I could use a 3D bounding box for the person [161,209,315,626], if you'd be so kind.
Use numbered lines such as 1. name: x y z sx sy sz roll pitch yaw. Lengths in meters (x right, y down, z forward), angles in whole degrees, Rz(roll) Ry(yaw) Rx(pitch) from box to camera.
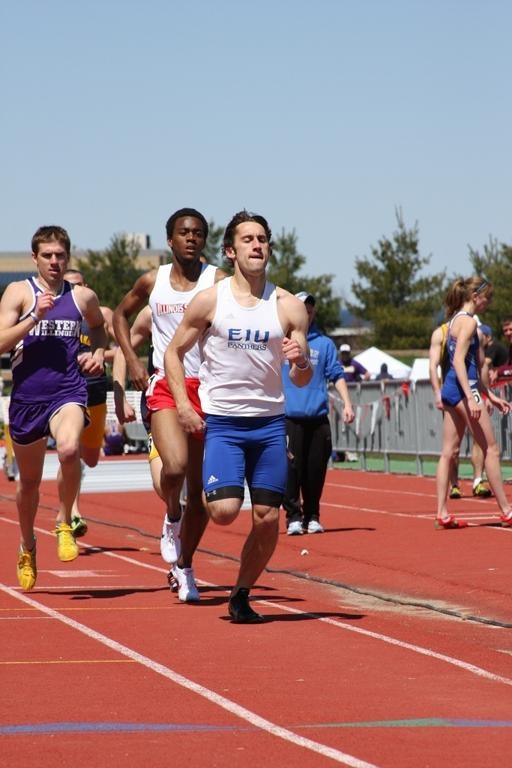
1. person: -0.104 0.173 4.415 0.737 2.113 0.404 2 3 4

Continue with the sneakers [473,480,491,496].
1. sneakers: 3.000 1.423 11.825 0.157 0.184 0.397 -1 -9 -6

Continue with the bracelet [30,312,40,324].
1. bracelet: -1.264 -0.383 4.986 0.047 0.026 0.077 6 31 -41

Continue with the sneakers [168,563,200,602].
1. sneakers: -0.420 1.168 5.181 0.105 0.131 0.283 3 18 -29

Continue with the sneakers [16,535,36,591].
1. sneakers: -1.359 1.085 5.214 0.115 0.354 0.151 -2 -10 -16

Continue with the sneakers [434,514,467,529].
1. sneakers: 1.886 1.325 8.497 0.327 0.133 0.131 -3 12 -26

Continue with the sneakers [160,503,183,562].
1. sneakers: -0.515 0.915 5.346 0.105 0.318 0.135 -1 4 -4

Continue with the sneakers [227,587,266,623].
1. sneakers: -0.060 1.147 4.527 0.087 0.115 0.256 4 -6 -18

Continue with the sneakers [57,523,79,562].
1. sneakers: -1.157 0.939 5.315 0.106 0.133 0.296 -3 12 -15
